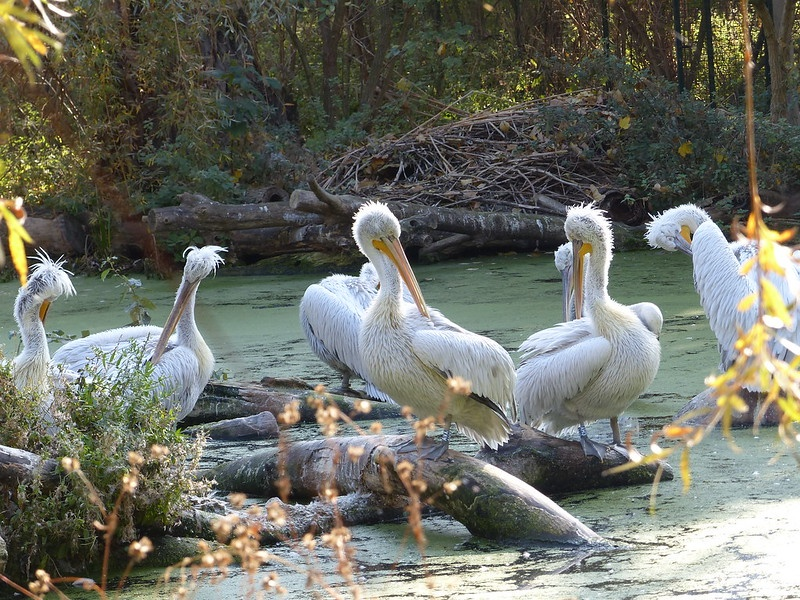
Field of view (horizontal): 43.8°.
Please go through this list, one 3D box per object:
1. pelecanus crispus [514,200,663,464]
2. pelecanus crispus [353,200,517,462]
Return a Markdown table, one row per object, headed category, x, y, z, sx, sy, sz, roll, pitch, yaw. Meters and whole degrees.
| category | x | y | z | sx | sy | sz | roll | pitch | yaw |
| --- | --- | --- | --- | --- | --- | --- | --- | --- | --- |
| pelecanus crispus | 0.981 | 0.157 | 5.341 | 0.794 | 1.317 | 1.014 | -5 | 9 | 12 |
| pelecanus crispus | 0.158 | 0.155 | 5.001 | 0.962 | 1.254 | 0.609 | -1 | -1 | -42 |
